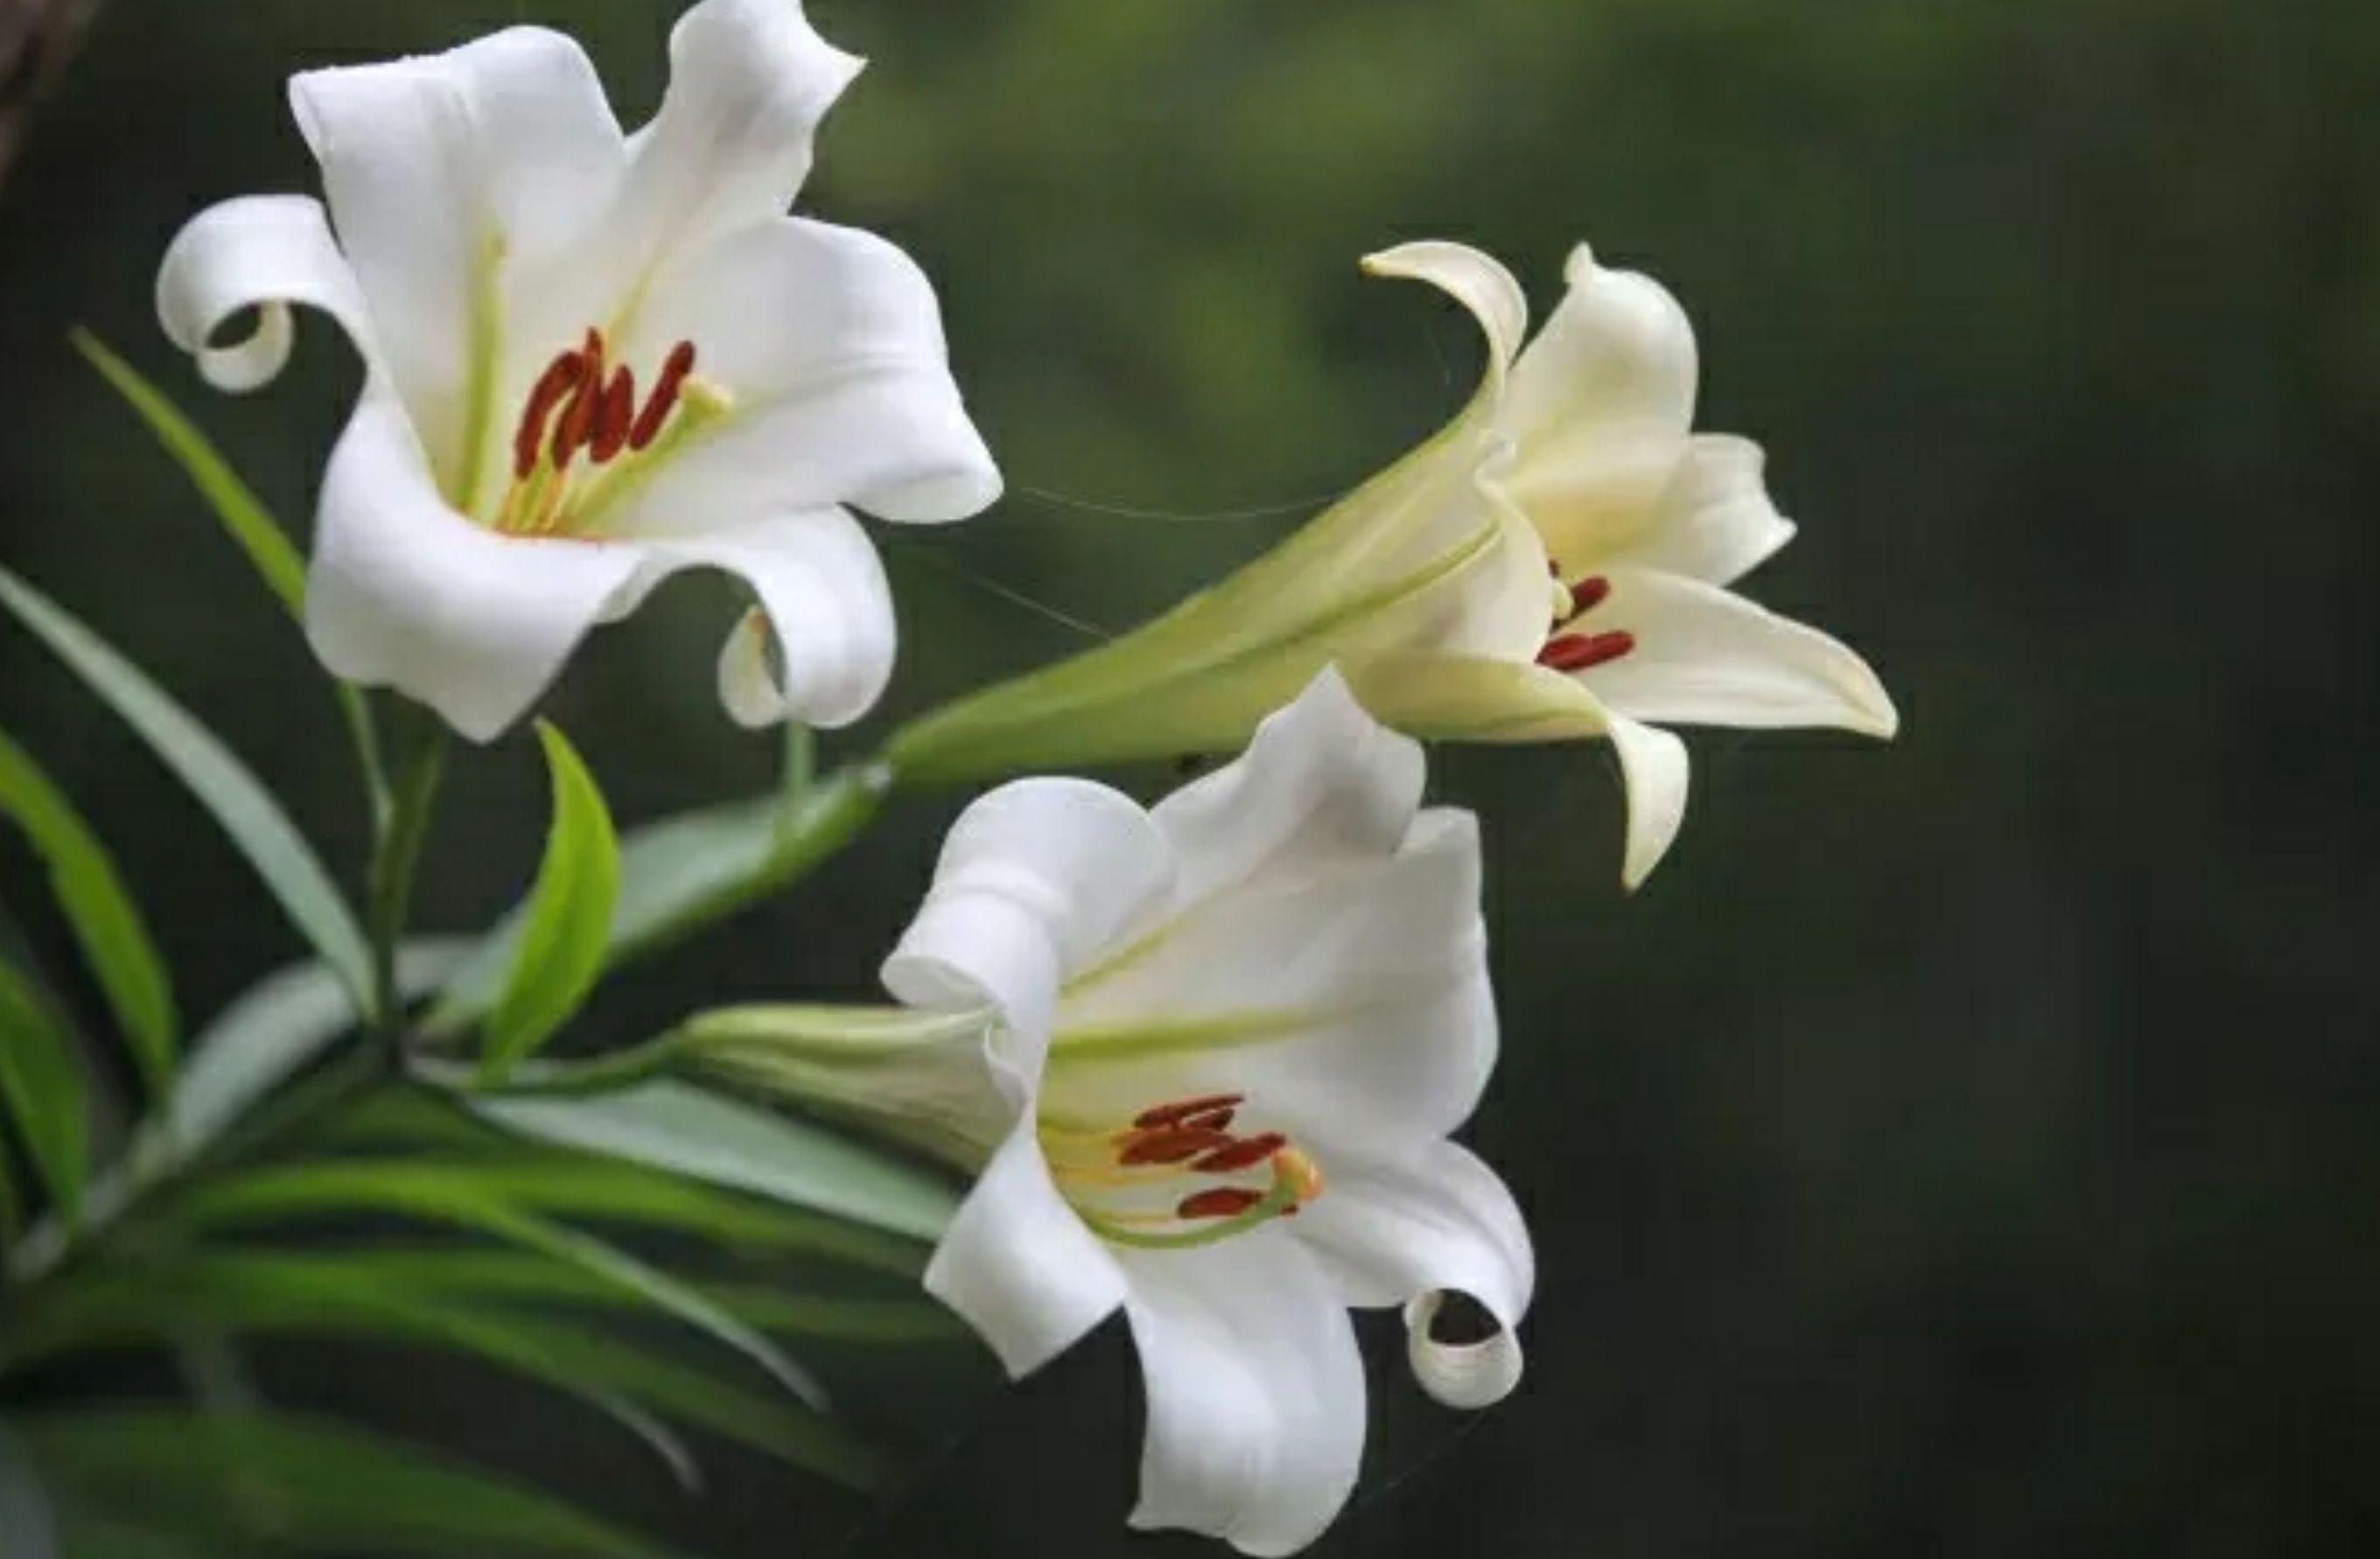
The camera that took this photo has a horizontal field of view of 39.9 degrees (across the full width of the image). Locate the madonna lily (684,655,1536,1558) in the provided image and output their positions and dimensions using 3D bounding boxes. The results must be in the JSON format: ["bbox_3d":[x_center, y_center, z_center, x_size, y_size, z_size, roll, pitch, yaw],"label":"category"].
[{"bbox_3d":[-0.039,0.097,1.248,0.317,0.209,0.260,27,26,30],"label":"madonna lily"}]

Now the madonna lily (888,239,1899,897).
[{"bbox_3d":[0.073,-0.079,1.203,0.285,0.176,0.238,-12,27,6],"label":"madonna lily"}]

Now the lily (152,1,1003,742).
[{"bbox_3d":[-0.220,-0.158,1.181,0.257,0.302,0.185,14,-33,-28],"label":"lily"}]

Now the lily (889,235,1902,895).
[{"bbox_3d":[0.066,-0.074,1.227,0.285,0.177,0.238,-12,26,6],"label":"lily"}]

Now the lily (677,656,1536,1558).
[{"bbox_3d":[-0.042,0.098,1.258,0.322,0.227,0.254,27,27,30],"label":"lily"}]

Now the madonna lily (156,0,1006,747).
[{"bbox_3d":[-0.217,-0.159,1.179,0.257,0.302,0.184,14,-33,-28],"label":"madonna lily"}]
